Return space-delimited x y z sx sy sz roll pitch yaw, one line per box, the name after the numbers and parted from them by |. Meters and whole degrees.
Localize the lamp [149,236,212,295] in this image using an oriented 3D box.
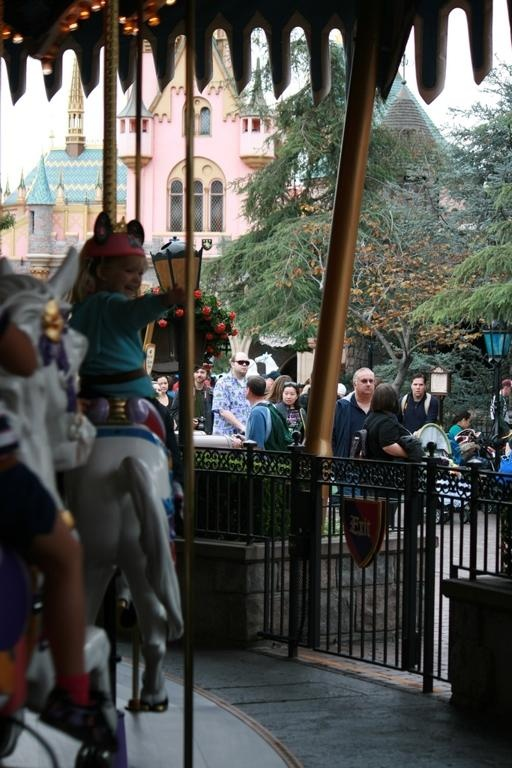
-0.661 -0.942 8.959 0.380 0.494 0.400 0 17 16 | lamp

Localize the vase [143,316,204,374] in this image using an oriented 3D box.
-0.913 -0.400 11.837 0.750 0.769 0.916 5 0 -2 | vase

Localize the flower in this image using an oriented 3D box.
-0.645 -0.504 11.324 1.017 1.111 0.967 2 -8 -16 | flower

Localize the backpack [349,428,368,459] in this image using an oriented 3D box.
0.795 0.479 8.625 0.136 0.293 0.222 8 3 17 | backpack
